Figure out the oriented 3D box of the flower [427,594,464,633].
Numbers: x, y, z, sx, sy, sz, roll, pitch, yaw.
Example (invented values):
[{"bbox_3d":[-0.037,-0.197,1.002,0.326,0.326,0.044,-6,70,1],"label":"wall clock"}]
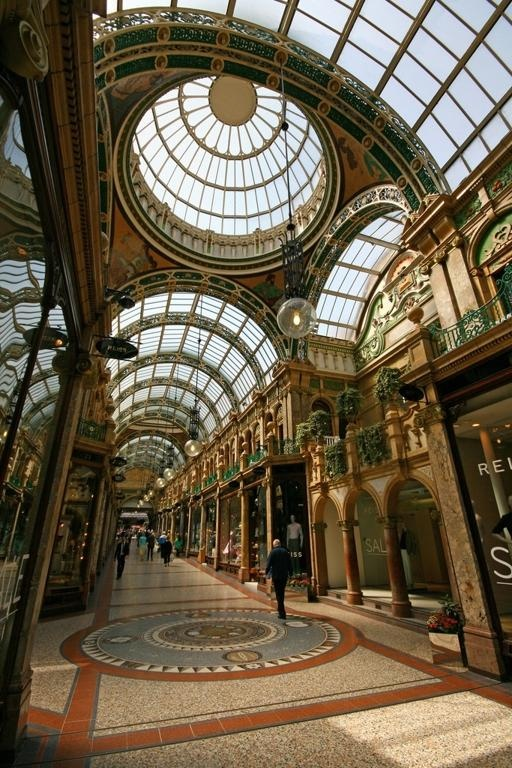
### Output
[{"bbox_3d":[2.957,3.126,5.700,0.512,0.391,0.468,15,-29,-35],"label":"flower"}]
